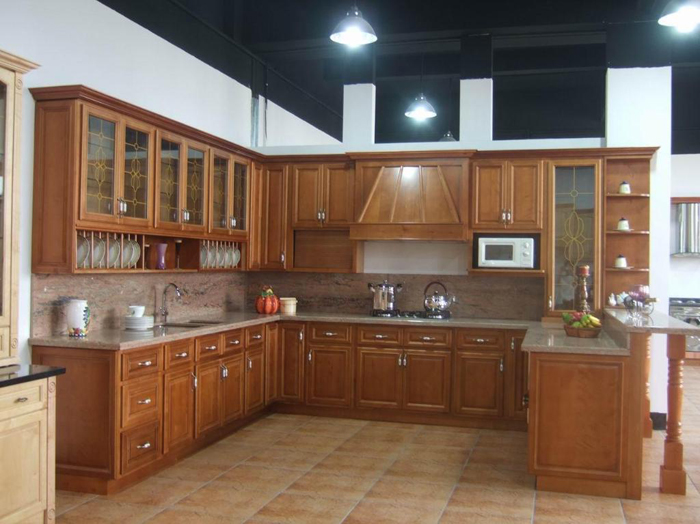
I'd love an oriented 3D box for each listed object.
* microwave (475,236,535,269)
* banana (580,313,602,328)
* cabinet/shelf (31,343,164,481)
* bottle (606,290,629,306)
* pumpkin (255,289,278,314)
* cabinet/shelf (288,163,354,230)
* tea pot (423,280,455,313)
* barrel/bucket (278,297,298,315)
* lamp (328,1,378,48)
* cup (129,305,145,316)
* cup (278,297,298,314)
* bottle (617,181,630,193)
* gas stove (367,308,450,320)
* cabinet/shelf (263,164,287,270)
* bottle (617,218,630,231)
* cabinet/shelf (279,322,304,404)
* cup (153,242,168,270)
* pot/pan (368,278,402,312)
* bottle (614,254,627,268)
[{"bbox_3d":[1.696,-0.095,6.402,0.592,0.306,0.341,-1,-4,18],"label":"microwave"},{"bbox_3d":[2.113,0.514,5.140,0.143,0.109,0.082,1,2,12],"label":"banana"},{"bbox_3d":[-2.066,1.194,5.107,0.974,1.318,0.939,-1,-3,11],"label":"cabinet/shelf"},{"bbox_3d":[2.800,0.385,6.135,0.245,0.171,0.145,-3,3,-36],"label":"bottle"},{"bbox_3d":[-0.965,0.458,7.020,0.256,0.281,0.557,1,2,-1],"label":"pumpkin"},{"bbox_3d":[-0.295,-0.768,6.916,0.778,0.744,0.372,2,4,5],"label":"cabinet/shelf"},{"bbox_3d":[1.014,0.399,6.752,0.397,0.392,0.284,-2,0,4],"label":"tea pot"},{"bbox_3d":[-0.704,0.519,6.920,0.177,0.170,0.196,0,0,-16],"label":"barrel/bucket"},{"bbox_3d":[0.008,-1.959,5.152,0.391,0.425,0.412,2,-7,-11],"label":"lamp"},{"bbox_3d":[-1.919,0.442,5.335,0.119,0.084,0.124,1,-6,0],"label":"cup"},{"bbox_3d":[-0.728,0.519,6.974,0.173,0.166,0.192,0,-3,7],"label":"cup"},{"bbox_3d":[2.904,-0.782,6.208,0.116,0.126,0.116,0,-4,0],"label":"bottle"},{"bbox_3d":[0.698,0.585,6.735,0.885,0.080,0.475,0,2,-4],"label":"gas stove"},{"bbox_3d":[-0.883,-0.534,7.048,0.279,1.216,0.107,0,2,-5],"label":"cabinet/shelf"},{"bbox_3d":[2.915,-0.393,6.236,0.127,0.143,0.243,2,3,25],"label":"bottle"},{"bbox_3d":[-0.650,1.146,6.760,0.270,0.874,0.091,1,2,2],"label":"cabinet/shelf"},{"bbox_3d":[-1.831,-0.055,5.716,0.127,0.245,0.411,0,2,-17],"label":"cup"},{"bbox_3d":[0.441,0.357,6.938,0.424,0.407,0.336,0,2,5],"label":"pot/pan"},{"bbox_3d":[2.898,-0.009,6.222,0.126,0.137,0.125,2,-1,-12],"label":"bottle"}]
